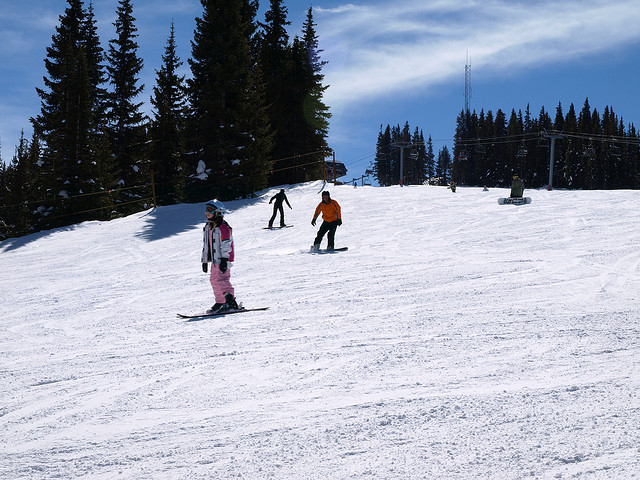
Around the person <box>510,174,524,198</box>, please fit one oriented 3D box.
[{"bbox_3d":[9.009,-2.480,43.152,0.557,1.042,1.983,-1,3,11],"label":"person"}]

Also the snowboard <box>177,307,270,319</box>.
[{"bbox_3d":[-2.524,1.976,25.149,2.255,0.181,0.235,-2,1,-26],"label":"snowboard"}]

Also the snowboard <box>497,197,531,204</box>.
[{"bbox_3d":[8.979,-1.817,43.463,1.398,0.282,0.586,0,4,11],"label":"snowboard"}]

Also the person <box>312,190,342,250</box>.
[{"bbox_3d":[0.255,-0.667,32.091,0.912,2.023,1.364,-3,4,-21],"label":"person"}]

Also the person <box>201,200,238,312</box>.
[{"bbox_3d":[-2.744,0.428,25.361,0.893,3.005,0.830,-2,3,-11],"label":"person"}]
